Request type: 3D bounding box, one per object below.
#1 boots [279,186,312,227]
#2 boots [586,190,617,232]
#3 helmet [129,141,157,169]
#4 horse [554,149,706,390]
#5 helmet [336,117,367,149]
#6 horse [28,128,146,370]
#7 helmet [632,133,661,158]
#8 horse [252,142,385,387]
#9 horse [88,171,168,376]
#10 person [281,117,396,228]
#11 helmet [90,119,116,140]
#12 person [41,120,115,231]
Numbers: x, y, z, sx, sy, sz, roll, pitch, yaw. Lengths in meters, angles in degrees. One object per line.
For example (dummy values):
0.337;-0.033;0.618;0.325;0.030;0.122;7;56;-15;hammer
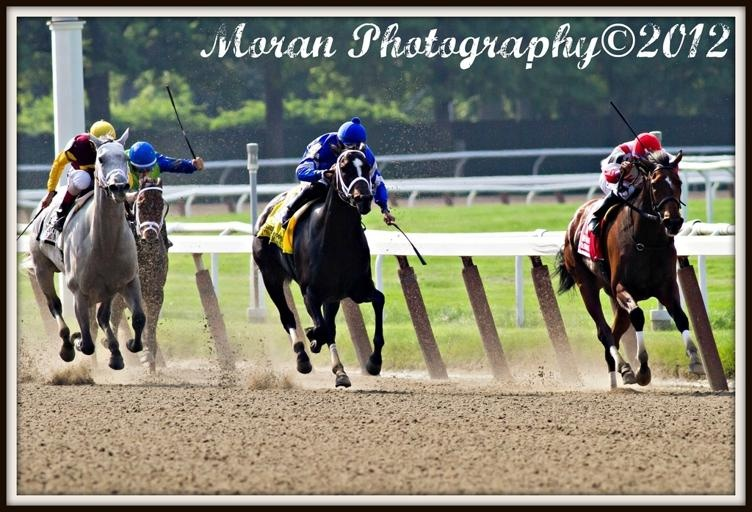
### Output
-0.728;-0.449;12.304;0.096;0.400;0.140;26;25;-38;boots
2.080;-0.412;12.243;0.127;0.347;0.253;31;-3;-27;boots
-2.182;-0.961;12.655;0.218;0.201;0.270;-7;4;36;helmet
2.337;0.109;12.145;0.589;2.176;1.451;-5;9;-24;horse
-0.204;-1.136;11.943;0.199;0.301;0.181;25;-35;-29;helmet
-2.608;-0.035;12.368;0.665;2.307;1.746;-6;9;-30;horse
2.434;-1.003;11.934;0.177;0.272;0.159;1;30;-4;helmet
-0.477;0.074;12.178;0.642;2.143;1.486;-7;10;-37;horse
-2.330;0.123;12.521;0.441;1.865;1.314;4;17;-17;horse
-0.387;-0.693;12.433;0.802;0.832;1.439;0;0;-26;person
-2.580;-1.199;12.625;0.248;0.216;0.331;4;-3;2;helmet
-2.796;-0.764;12.511;0.452;1.120;0.399;3;24;-43;person
